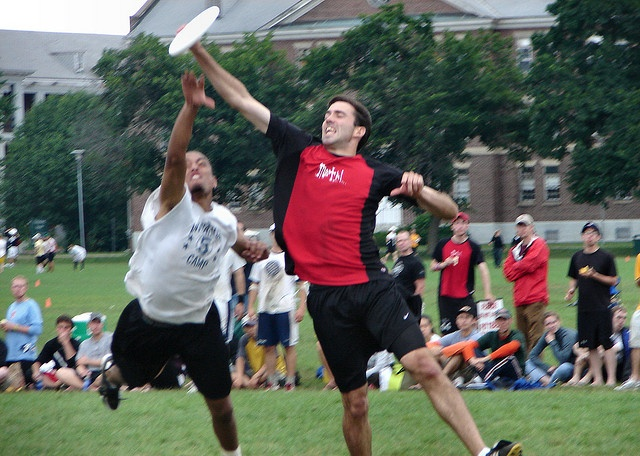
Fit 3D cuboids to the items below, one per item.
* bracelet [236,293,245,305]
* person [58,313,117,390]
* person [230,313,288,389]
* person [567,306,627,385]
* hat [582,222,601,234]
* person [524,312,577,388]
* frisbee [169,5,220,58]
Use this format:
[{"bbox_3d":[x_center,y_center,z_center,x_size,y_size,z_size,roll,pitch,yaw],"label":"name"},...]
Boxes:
[{"bbox_3d":[-1.458,1.334,14.118,0.178,0.189,0.188,-1,0,28],"label":"bracelet"},{"bbox_3d":[-4.097,2.215,13.270,1.108,1.351,1.099,7,-10,-34],"label":"person"},{"bbox_3d":[-1.270,2.361,13.602,1.069,1.490,1.191,-9,-15,15],"label":"person"},{"bbox_3d":[4.942,2.022,13.139,1.116,0.807,1.342,-1,10,31],"label":"person"},{"bbox_3d":[4.868,-0.027,13.271,0.382,0.187,0.222,3,-10,-20],"label":"hat"},{"bbox_3d":[4.039,2.178,13.204,0.893,1.216,0.933,25,-19,-35],"label":"person"},{"bbox_3d":[-1.442,-2.252,8.586,0.547,0.631,0.398,0,-3,-10],"label":"frisbee"}]
